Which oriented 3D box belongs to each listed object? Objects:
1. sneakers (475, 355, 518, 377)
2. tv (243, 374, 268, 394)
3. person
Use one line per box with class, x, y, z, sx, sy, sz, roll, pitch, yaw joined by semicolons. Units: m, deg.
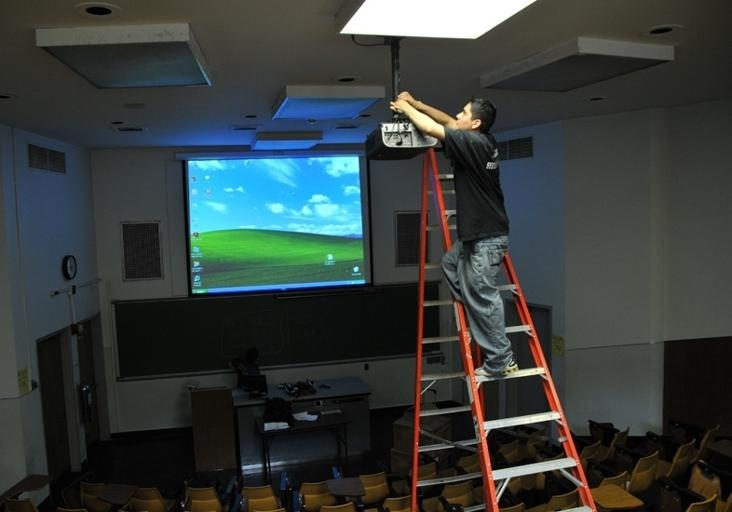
sneakers;1.115;0.925;4.668;0.396;0.197;0.148;-1;0;3
tv;-1.834;2.080;8.984;0.471;0.342;0.276;1;3;5
person;0.822;-0.187;4.581;0.741;1.789;0.646;-6;-4;9
